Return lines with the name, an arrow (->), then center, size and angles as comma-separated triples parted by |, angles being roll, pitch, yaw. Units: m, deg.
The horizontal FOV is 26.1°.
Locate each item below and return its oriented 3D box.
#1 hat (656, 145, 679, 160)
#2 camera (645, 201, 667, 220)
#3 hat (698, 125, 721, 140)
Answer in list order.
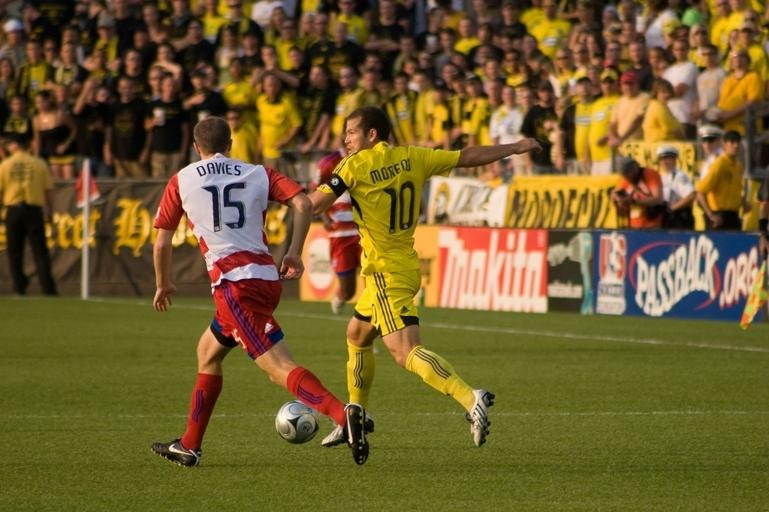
hat -> 4.087, -1.489, 24.073 | 0.236, 0.116, 0.178 | -7, 2, -27
camera -> 3.883, -0.647, 23.838 | 0.229, 0.115, 0.293 | 10, -27, -7
hat -> 4.689, -1.758, 23.997 | 0.294, 0.175, 0.384 | -4, 13, -20
